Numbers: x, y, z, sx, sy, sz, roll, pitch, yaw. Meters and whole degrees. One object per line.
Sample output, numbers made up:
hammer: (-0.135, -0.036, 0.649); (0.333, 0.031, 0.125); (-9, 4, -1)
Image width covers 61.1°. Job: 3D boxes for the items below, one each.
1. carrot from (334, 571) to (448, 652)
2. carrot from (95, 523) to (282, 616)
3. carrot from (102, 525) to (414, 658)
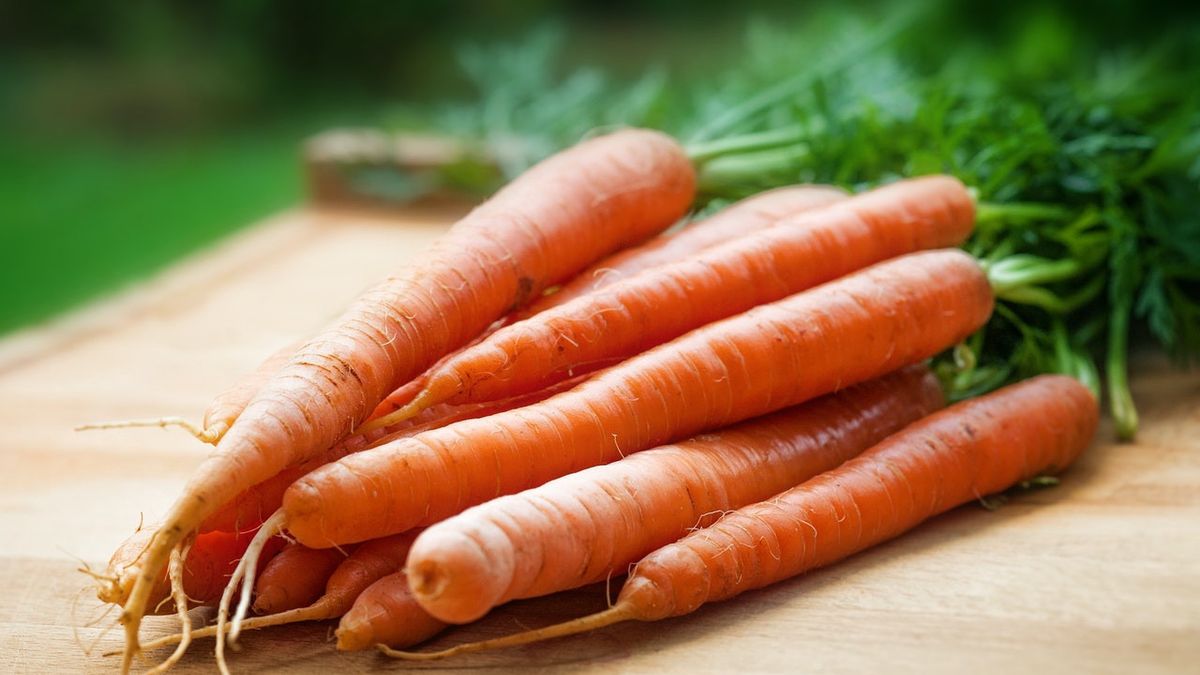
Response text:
carrot: (-0.377, 0.511, 1.876); (0.212, 0.092, 0.090); (-23, -11, -16)
carrot: (-0.829, 0.406, 1.925); (0.143, 0.129, 0.429); (12, 2, 16)
carrot: (-0.609, 0.466, 1.844); (0.649, 0.114, 0.108); (-11, 29, -4)
